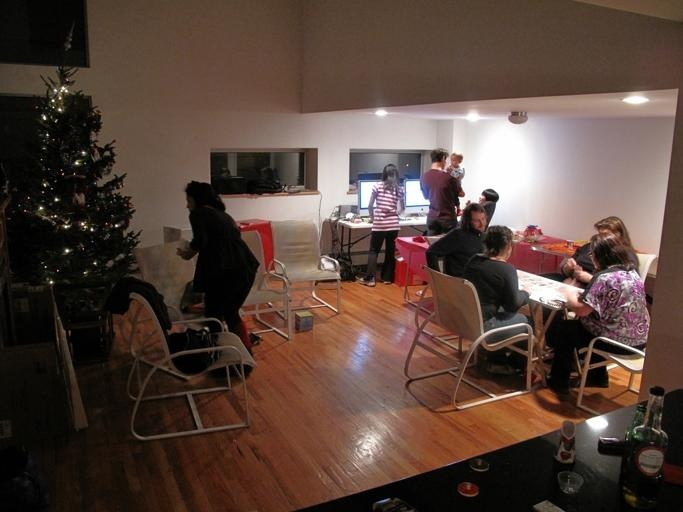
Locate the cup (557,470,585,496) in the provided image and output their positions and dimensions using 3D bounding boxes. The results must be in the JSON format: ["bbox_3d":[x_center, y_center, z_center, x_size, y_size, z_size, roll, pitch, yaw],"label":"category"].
[{"bbox_3d":[0.932,0.905,1.970,0.077,0.052,0.079,-4,13,1],"label":"cup"}]

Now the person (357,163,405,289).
[{"bbox_3d":[0.601,-0.445,7.150,0.594,1.742,0.278,-1,11,-8],"label":"person"}]

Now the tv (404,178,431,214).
[{"bbox_3d":[1.176,-0.972,7.677,0.603,0.622,0.198,-4,9,-13],"label":"tv"}]

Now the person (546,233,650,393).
[{"bbox_3d":[2.158,0.535,4.118,0.711,1.410,0.440,6,12,30],"label":"person"}]

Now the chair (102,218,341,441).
[{"bbox_3d":[-1.247,0.550,4.507,1.525,1.308,2.148,-4,11,-22],"label":"chair"}]

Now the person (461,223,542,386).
[{"bbox_3d":[1.405,0.430,4.311,0.532,1.405,0.663,10,14,43],"label":"person"}]

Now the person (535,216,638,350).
[{"bbox_3d":[2.383,0.454,4.770,0.838,1.433,0.665,10,19,34],"label":"person"}]

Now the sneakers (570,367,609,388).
[{"bbox_3d":[2.283,1.129,4.512,0.311,0.102,0.192,-5,14,-4],"label":"sneakers"}]

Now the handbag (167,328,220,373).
[{"bbox_3d":[-1.108,0.728,3.780,0.376,0.299,0.395,-7,13,-36],"label":"handbag"}]
